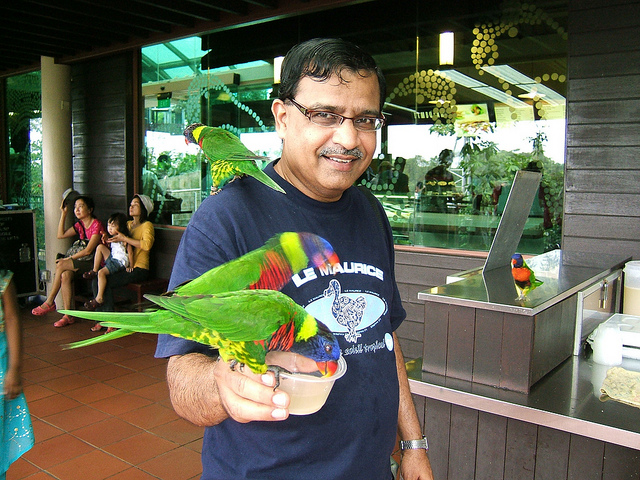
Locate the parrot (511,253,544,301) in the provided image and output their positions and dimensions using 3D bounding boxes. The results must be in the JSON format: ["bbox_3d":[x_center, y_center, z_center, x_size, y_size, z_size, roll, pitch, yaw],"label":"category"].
[{"bbox_3d":[1.056,0.179,2.441,0.210,0.275,0.097,-18,19,-33],"label":"parrot"}]

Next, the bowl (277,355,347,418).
[{"bbox_3d":[-0.047,0.409,1.345,0.199,0.136,0.205,1,1,0],"label":"bowl"}]

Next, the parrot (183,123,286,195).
[{"bbox_3d":[-0.399,-0.376,2.162,0.621,0.321,0.171,4,12,32],"label":"parrot"}]

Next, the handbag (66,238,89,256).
[{"bbox_3d":[-3.444,0.103,6.716,0.131,0.192,0.082,24,-16,32],"label":"handbag"}]

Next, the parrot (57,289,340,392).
[{"bbox_3d":[-0.305,0.220,1.279,0.731,0.265,0.196,12,7,0],"label":"parrot"}]
